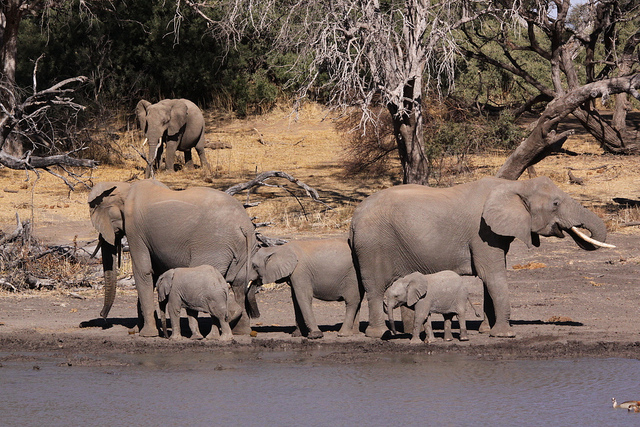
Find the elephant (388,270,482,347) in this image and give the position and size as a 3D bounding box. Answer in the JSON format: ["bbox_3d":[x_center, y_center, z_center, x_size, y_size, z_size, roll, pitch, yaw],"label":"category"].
[{"bbox_3d":[2.257,1.766,17.903,1.346,1.515,1.731,10,19,37],"label":"elephant"}]

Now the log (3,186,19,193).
[{"bbox_3d":[-9.659,-0.714,29.098,0.464,0.160,0.700,-7,16,-20],"label":"log"}]

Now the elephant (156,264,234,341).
[{"bbox_3d":[-2.543,1.745,17.937,1.733,1.446,0.690,-1,5,13],"label":"elephant"}]

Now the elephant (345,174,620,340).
[{"bbox_3d":[3.428,0.659,19.193,5.443,3.453,2.550,-1,3,2],"label":"elephant"}]

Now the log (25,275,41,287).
[{"bbox_3d":[-6.594,1.532,21.297,0.341,0.276,0.091,1,15,8],"label":"log"}]

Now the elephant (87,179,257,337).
[{"bbox_3d":[-3.062,0.915,18.822,3.660,3.089,2.070,1,1,18],"label":"elephant"}]

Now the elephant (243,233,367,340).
[{"bbox_3d":[-0.213,1.358,18.540,2.591,1.967,1.129,-2,12,6],"label":"elephant"}]

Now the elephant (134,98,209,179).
[{"bbox_3d":[-5.241,-2.660,32.497,1.971,2.575,3.356,3,8,24],"label":"elephant"}]

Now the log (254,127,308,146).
[{"bbox_3d":[-1.526,-2.889,35.670,1.695,0.506,0.978,0,15,3],"label":"log"}]
